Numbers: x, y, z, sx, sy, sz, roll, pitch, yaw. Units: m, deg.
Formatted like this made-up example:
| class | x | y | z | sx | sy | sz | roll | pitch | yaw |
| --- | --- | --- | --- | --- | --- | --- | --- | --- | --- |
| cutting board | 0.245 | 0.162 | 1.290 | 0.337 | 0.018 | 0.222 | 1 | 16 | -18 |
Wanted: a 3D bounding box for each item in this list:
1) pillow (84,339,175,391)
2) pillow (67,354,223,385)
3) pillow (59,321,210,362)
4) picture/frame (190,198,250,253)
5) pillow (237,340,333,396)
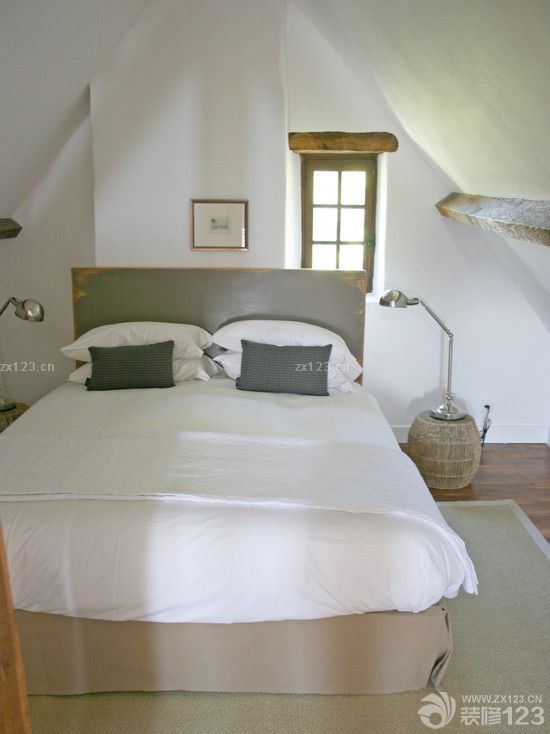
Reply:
| class | x | y | z | sx | sy | sz | roll | pitch | yaw |
| --- | --- | --- | --- | --- | --- | --- | --- | --- | --- |
| pillow | -0.780 | -0.017 | 3.214 | 0.433 | 0.281 | 0.124 | 0 | 14 | -12 |
| pillow | -0.611 | 0.011 | 3.325 | 0.428 | 0.118 | 0.331 | -1 | 13 | -5 |
| pillow | -0.758 | -0.169 | 3.451 | 0.501 | 0.151 | 0.312 | 0 | 12 | -4 |
| picture/frame | -0.341 | -0.893 | 3.694 | 0.294 | 0.252 | 0.031 | 0 | 12 | -2 |
| pillow | 0.046 | 0.016 | 3.201 | 0.449 | 0.267 | 0.130 | 2 | -15 | -1 |
